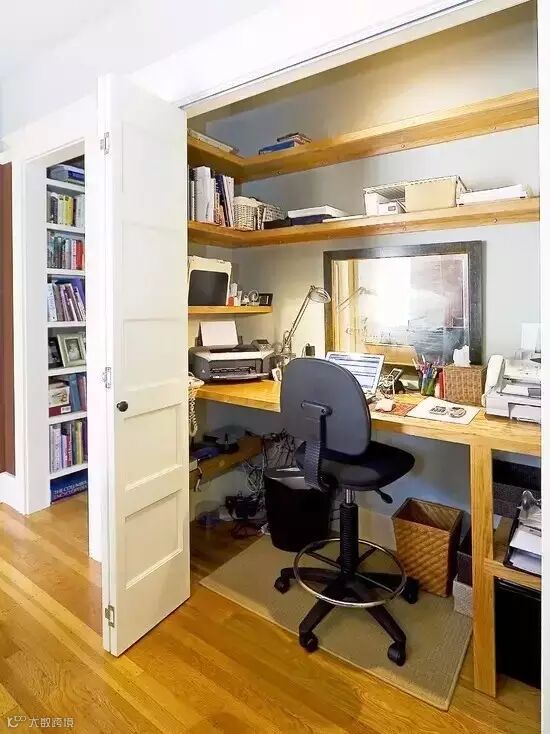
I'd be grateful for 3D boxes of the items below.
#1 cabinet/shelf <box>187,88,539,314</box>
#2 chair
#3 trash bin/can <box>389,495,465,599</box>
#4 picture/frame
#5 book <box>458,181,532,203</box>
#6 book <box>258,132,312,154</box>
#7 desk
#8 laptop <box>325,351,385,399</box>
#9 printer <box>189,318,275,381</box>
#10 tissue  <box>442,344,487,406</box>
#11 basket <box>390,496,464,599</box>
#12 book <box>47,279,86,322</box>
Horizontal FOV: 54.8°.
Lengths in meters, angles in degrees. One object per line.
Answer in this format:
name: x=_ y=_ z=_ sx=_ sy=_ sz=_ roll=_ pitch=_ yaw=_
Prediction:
cabinet/shelf: x=0.348 y=-0.828 z=2.438 sx=1.578 sy=0.467 sz=0.634 roll=5 pitch=10 yaw=28
chair: x=0.271 y=0.481 z=2.041 sx=0.623 sy=1.065 sz=0.595 roll=7 pitch=13 yaw=36
trash bin/can: x=0.656 y=0.758 z=2.274 sx=0.244 sy=0.297 sz=0.260 roll=-16 pitch=22 yaw=-43
picture/frame: x=0.612 y=-0.277 z=2.424 sx=0.607 sy=0.455 sz=0.028 roll=6 pitch=9 yaw=42
book: x=0.815 y=-0.638 z=1.981 sx=0.257 sy=0.060 sz=0.124 roll=3 pitch=10 yaw=22
book: x=0.087 y=-1.091 z=2.597 sx=0.178 sy=0.048 sz=0.188 roll=-14 pitch=18 yaw=-36
desk: x=0.273 y=0.491 z=2.452 sx=1.941 sy=0.810 sz=0.741 roll=8 pitch=12 yaw=42
laptop: x=0.368 y=0.011 z=2.298 sx=0.217 sy=0.139 sz=0.196 roll=4 pitch=4 yaw=37
printer: x=-0.232 y=-0.088 z=2.717 sx=0.405 sy=0.306 sz=0.341 roll=-2 pitch=6 yaw=-19
tissue : x=0.782 y=0.026 z=2.201 sx=0.125 sy=0.199 sz=0.141 roll=-7 pitch=4 yaw=3
basket: x=0.651 y=0.762 z=2.275 sx=0.242 sy=0.307 sz=0.226 roll=8 pitch=18 yaw=27
book: x=-1.312 y=-0.405 z=3.320 sx=0.255 sy=0.268 sz=0.152 roll=9 pitch=12 yaw=42
